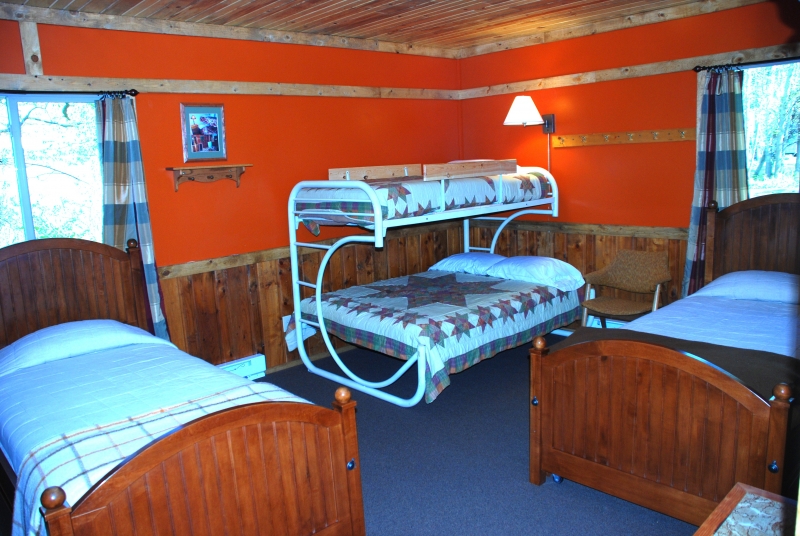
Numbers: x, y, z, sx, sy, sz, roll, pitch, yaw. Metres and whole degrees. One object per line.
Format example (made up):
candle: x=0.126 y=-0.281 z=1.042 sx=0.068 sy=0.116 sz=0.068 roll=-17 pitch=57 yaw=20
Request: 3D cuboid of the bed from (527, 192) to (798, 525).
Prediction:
bed: x=2.367 y=0.541 z=5.054 sx=3.299 sy=2.137 sz=1.821 roll=-9 pitch=11 yaw=-43

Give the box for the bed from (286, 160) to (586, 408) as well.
bed: x=0.474 y=-0.021 z=6.568 sx=2.205 sy=1.908 sz=3.341 roll=8 pitch=14 yaw=41

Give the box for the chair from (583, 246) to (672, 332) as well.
chair: x=2.224 y=0.217 z=6.145 sx=0.850 sy=0.914 sz=0.979 roll=8 pitch=15 yaw=40

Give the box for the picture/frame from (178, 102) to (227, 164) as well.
picture/frame: x=-1.922 y=-1.315 z=5.647 sx=0.629 sy=0.620 sz=0.053 roll=-12 pitch=14 yaw=-40

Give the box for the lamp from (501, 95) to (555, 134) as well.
lamp: x=1.482 y=-1.706 z=6.635 sx=0.623 sy=0.325 sz=0.393 roll=1 pitch=-1 yaw=-30
